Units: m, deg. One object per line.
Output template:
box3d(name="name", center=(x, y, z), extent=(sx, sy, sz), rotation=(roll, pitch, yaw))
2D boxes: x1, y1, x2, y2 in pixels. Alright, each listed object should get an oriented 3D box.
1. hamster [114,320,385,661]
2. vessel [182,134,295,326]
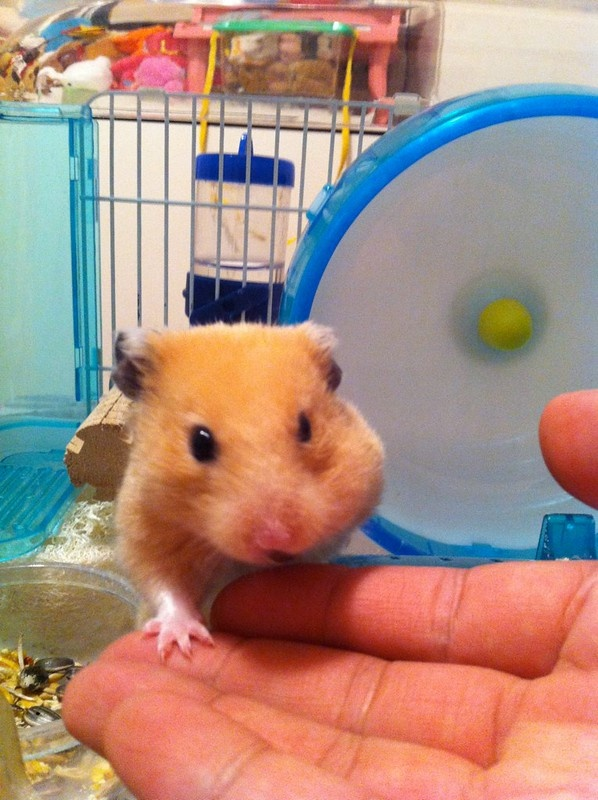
box3d(name="hamster", center=(-0.047, 0.078, 0.643), extent=(0.230, 0.290, 0.182), rotation=(16, 18, 36))
box3d(name="vessel", center=(-0.099, -0.281, 1.161), extent=(0.183, 0.308, 0.514), rotation=(4, 14, -5))
